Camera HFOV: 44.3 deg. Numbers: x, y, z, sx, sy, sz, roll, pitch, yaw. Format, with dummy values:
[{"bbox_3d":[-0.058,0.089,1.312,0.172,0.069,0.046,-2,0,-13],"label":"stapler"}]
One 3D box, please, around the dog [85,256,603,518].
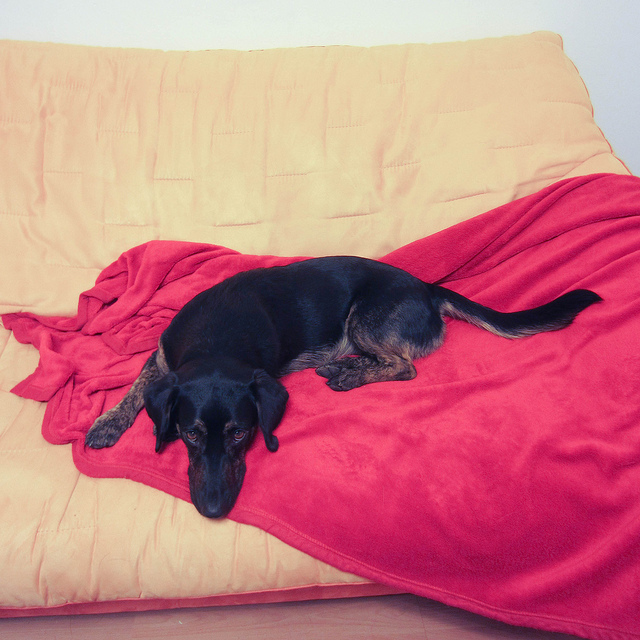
[{"bbox_3d":[0.010,0.080,2.616,1.422,0.296,0.799,-22,23,-25],"label":"dog"}]
